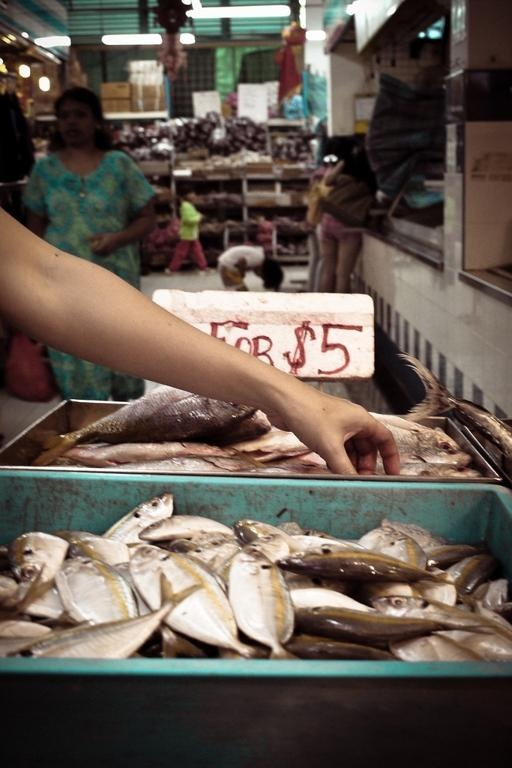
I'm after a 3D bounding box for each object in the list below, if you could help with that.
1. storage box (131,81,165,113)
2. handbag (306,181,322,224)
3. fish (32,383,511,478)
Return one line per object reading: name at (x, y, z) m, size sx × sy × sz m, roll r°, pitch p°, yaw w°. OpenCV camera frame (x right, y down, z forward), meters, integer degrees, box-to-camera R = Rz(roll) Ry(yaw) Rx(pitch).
storage box at (-0.356, -0.935, 1.978) m, size 0.103 × 0.087 × 0.099 m, roll -1°, pitch 23°, yaw -5°
handbag at (0.198, -0.615, 2.071) m, size 0.025 × 0.102 × 0.077 m, roll 9°, pitch 13°, yaw 18°
fish at (0.002, 0.144, 1.340) m, size 0.754 × 0.103 × 0.358 m, roll 3°, pitch 22°, yaw -1°
